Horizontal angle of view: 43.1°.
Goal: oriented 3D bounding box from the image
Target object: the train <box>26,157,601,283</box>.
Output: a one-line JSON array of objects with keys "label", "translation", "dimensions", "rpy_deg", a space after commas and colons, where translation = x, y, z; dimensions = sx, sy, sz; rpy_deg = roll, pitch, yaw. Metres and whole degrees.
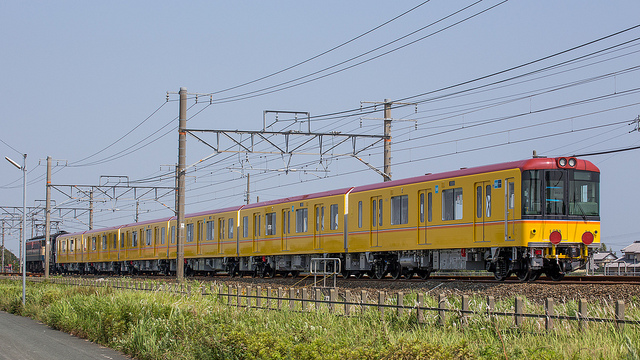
[{"label": "train", "translation": [-2.908, 2.966, 43.293], "dimensions": [33.747, 4.030, 4.083], "rpy_deg": [-7, 1, 38]}]
